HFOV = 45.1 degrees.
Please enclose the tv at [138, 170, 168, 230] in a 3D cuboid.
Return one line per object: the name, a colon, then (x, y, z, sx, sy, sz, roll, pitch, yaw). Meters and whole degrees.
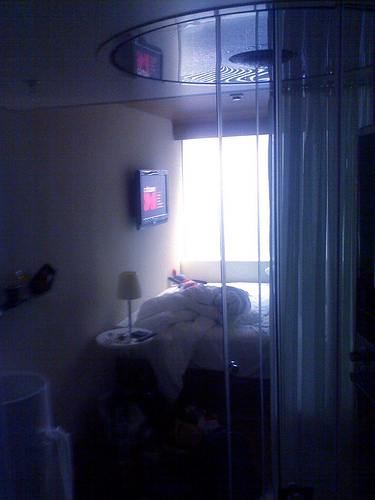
tv: (-0.199, -0.290, 2.564, 0.035, 0.318, 0.330, 4, 10, 23)
